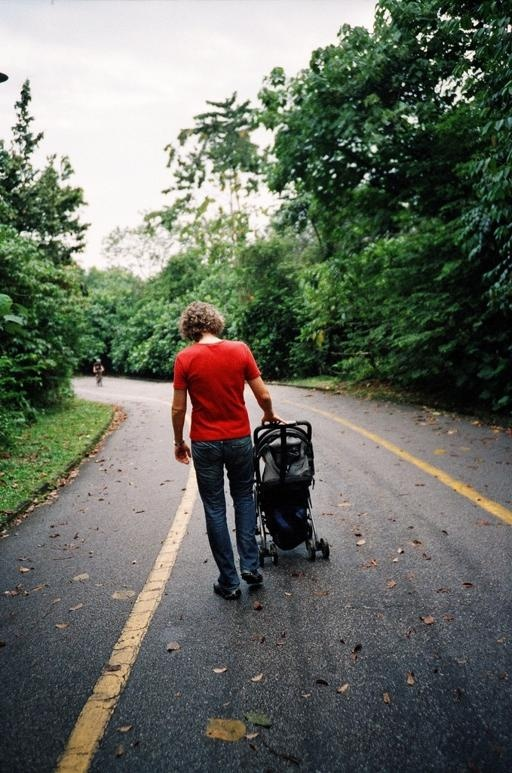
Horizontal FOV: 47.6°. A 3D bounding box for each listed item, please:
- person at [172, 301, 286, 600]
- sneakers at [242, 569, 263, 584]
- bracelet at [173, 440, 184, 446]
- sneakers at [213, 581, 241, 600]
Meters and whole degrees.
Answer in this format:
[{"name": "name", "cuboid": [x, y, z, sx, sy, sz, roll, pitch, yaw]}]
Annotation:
[{"name": "person", "cuboid": [-0.173, 0.521, 3.873, 0.620, 1.665, 0.640, -10, 10, -22]}, {"name": "sneakers", "cuboid": [-0.030, 1.269, 3.813, 0.068, 0.163, 0.073, -10, 48, 19]}, {"name": "bracelet", "cuboid": [-0.541, 0.394, 3.980, 0.049, 0.022, 0.058, -3, 0, -31]}, {"name": "sneakers", "cuboid": [-0.188, 1.301, 3.724, 0.070, 0.085, 0.194, 5, 3, -33]}]
